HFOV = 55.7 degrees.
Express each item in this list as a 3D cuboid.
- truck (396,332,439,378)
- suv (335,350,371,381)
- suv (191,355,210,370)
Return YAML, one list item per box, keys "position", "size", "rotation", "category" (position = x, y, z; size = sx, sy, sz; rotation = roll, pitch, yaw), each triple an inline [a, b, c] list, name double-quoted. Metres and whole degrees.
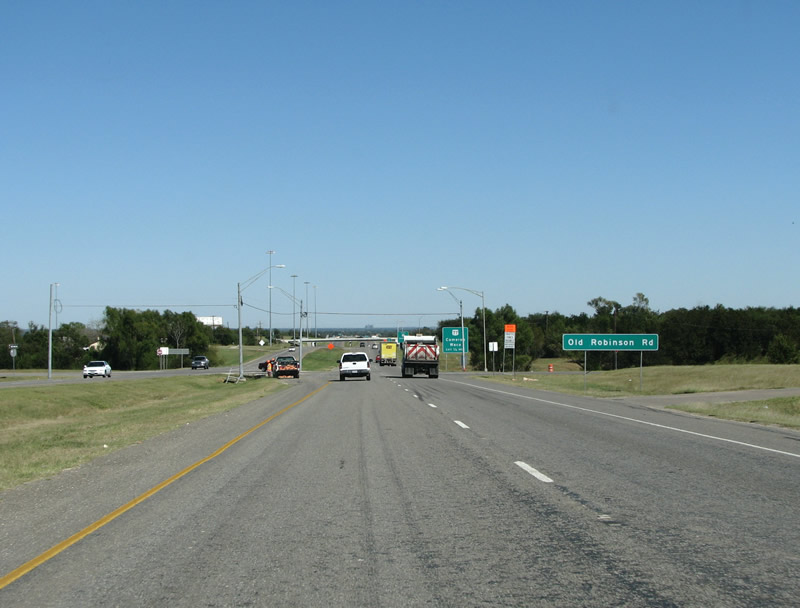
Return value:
- position: [1.554, 3.998, 59.940]
  size: [2.707, 3.170, 5.552]
  rotation: [1, 3, -1]
  category: "truck"
- position: [-3.239, 4.522, 54.472]
  size: [2.119, 1.891, 3.007]
  rotation: [-1, -2, -8]
  category: "suv"
- position: [-26.794, 8.022, 102.191]
  size: [1.915, 1.420, 3.517]
  rotation: [1, -10, -8]
  category: "suv"
